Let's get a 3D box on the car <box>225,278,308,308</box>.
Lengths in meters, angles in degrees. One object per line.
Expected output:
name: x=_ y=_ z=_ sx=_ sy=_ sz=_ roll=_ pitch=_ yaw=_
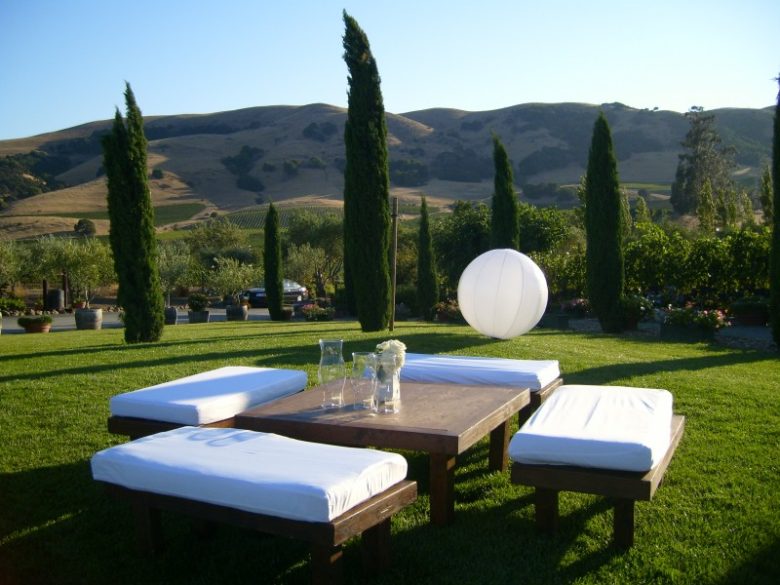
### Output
car: x=-5.397 y=0.118 z=32.150 sx=1.396 sy=1.196 sz=3.163 roll=-5 pitch=-4 yaw=44

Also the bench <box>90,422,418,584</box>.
bench: x=-1.234 y=2.041 z=6.756 sx=2.864 sy=1.239 sz=0.902 roll=-2 pitch=4 yaw=19
